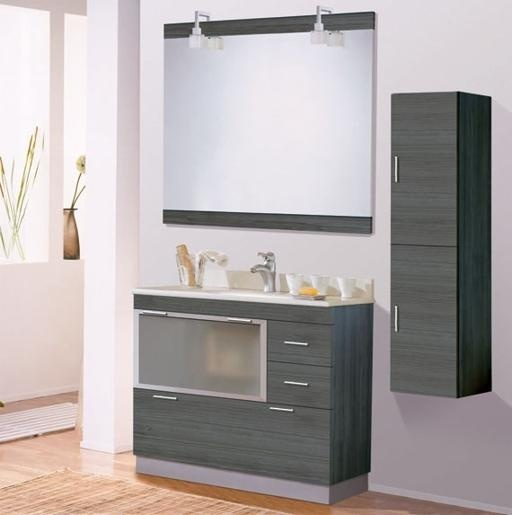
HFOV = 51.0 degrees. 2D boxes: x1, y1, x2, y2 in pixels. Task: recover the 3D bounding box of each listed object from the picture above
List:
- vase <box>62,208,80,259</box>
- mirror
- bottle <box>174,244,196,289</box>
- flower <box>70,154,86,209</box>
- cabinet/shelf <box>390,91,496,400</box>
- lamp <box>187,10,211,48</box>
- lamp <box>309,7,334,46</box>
[{"bbox_3d":[-1.788,-0.238,5.189,0.143,0.484,0.111,-4,7,-22],"label":"vase"},{"bbox_3d":[0.104,-0.734,2.892,1.051,1.111,0.077,2,4,30],"label":"mirror"},{"bbox_3d":[-0.393,0.041,3.000,0.142,0.226,0.055,5,10,43],"label":"bottle"},{"bbox_3d":[-1.714,-0.740,5.234,0.175,0.513,0.188,-1,7,-1],"label":"flower"},{"bbox_3d":[0.782,-0.049,2.247,0.431,1.269,0.350,0,7,13],"label":"cabinet/shelf"},{"bbox_3d":[-0.316,-1.281,3.030,0.101,0.201,0.093,-3,6,-38],"label":"lamp"},{"bbox_3d":[0.326,-1.169,2.695,0.099,0.201,0.128,0,8,11],"label":"lamp"}]
